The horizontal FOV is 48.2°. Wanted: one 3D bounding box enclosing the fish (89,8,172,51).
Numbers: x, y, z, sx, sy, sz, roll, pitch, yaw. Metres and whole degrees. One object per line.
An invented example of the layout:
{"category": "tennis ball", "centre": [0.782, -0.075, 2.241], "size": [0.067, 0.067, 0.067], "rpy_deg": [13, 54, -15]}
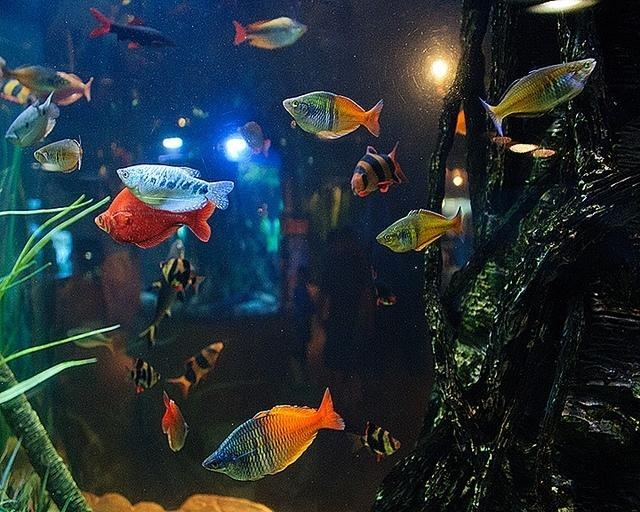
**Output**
{"category": "fish", "centre": [-1.406, -1.704, 5.395], "size": [0.558, 0.263, 0.714], "rpy_deg": [-5, 17, -12]}

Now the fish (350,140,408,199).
{"category": "fish", "centre": [0.394, -0.583, 4.820], "size": [0.519, 0.328, 0.185], "rpy_deg": [-22, 6, -43]}

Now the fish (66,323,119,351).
{"category": "fish", "centre": [-1.852, 0.661, 5.827], "size": [0.375, 0.216, 0.251], "rpy_deg": [10, 19, 32]}

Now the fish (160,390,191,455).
{"category": "fish", "centre": [-1.104, 1.289, 5.461], "size": [0.186, 0.565, 0.165], "rpy_deg": [6, 17, 28]}

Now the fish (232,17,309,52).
{"category": "fish", "centre": [-0.406, -1.730, 5.526], "size": [0.659, 0.195, 0.172], "rpy_deg": [15, 22, 41]}

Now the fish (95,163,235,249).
{"category": "fish", "centre": [-1.079, -0.348, 4.751], "size": [0.881, 0.665, 0.305], "rpy_deg": [3, 32, -1]}

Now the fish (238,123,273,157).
{"category": "fish", "centre": [-0.523, -0.954, 5.761], "size": [0.181, 0.307, 0.076], "rpy_deg": [-33, 6, -7]}

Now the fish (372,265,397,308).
{"category": "fish", "centre": [0.503, 0.267, 5.812], "size": [0.072, 0.318, 0.213], "rpy_deg": [-22, -8, -15]}
